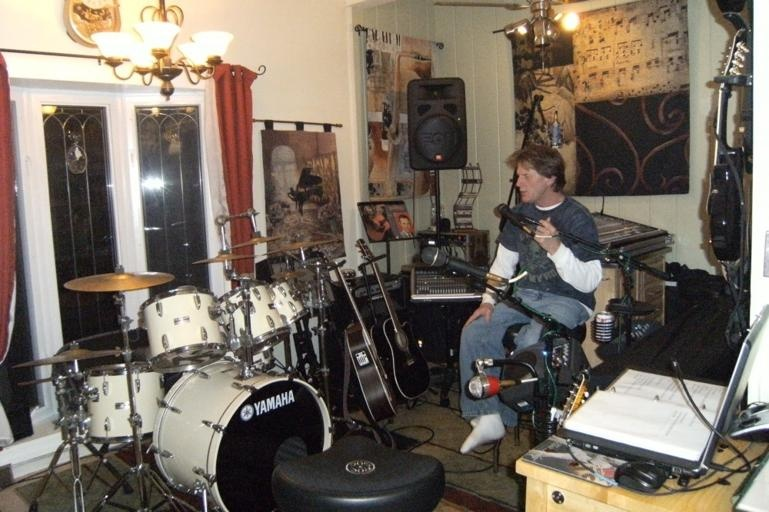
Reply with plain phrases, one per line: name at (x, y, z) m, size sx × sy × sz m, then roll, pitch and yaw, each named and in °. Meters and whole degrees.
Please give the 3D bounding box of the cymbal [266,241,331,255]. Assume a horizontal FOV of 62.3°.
cymbal at (-0.592, -0.062, 4.533) m, size 0.240 × 0.062 × 0.244 m, roll 3°, pitch 5°, yaw 16°

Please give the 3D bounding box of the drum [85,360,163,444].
drum at (-1.600, 0.863, 3.963) m, size 0.474 × 0.415 × 0.456 m, roll -1°, pitch 1°, yaw -28°

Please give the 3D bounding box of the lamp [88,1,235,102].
lamp at (-1.514, -1.405, 4.203) m, size 0.814 × 0.750 × 0.875 m, roll -10°, pitch 9°, yaw -29°

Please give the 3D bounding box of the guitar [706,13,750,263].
guitar at (1.533, -0.519, 2.830) m, size 0.178 × 1.095 × 0.283 m, roll -1°, pitch 10°, yaw 27°

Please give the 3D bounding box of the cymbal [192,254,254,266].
cymbal at (-0.997, 0.024, 3.900) m, size 0.251 × 0.054 × 0.245 m, roll -2°, pitch 4°, yaw 0°

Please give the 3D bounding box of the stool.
stool at (0.785, 0.794, 3.474) m, size 0.474 × 0.544 × 0.426 m, roll 4°, pitch -16°, yaw -19°

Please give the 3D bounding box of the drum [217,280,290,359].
drum at (-0.787, 0.408, 3.958) m, size 0.429 × 0.389 × 0.428 m, roll -26°, pitch -15°, yaw 8°

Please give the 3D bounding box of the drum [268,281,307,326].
drum at (-0.620, 0.301, 4.002) m, size 0.206 × 0.195 × 0.203 m, roll -35°, pitch -2°, yaw 28°

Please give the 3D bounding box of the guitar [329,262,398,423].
guitar at (-0.154, 0.604, 4.360) m, size 0.396 × 1.100 × 0.234 m, roll 2°, pitch 12°, yaw 42°

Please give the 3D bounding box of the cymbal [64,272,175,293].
cymbal at (-1.523, 0.150, 3.660) m, size 0.439 × 0.115 × 0.359 m, roll -2°, pitch 8°, yaw 20°

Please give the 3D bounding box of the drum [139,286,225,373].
drum at (-1.242, 0.442, 3.836) m, size 0.467 × 0.404 × 0.457 m, roll -25°, pitch -18°, yaw 38°

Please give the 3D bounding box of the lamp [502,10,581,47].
lamp at (1.043, -1.587, 4.364) m, size 0.314 × 0.184 × 0.303 m, roll -4°, pitch -4°, yaw 44°
